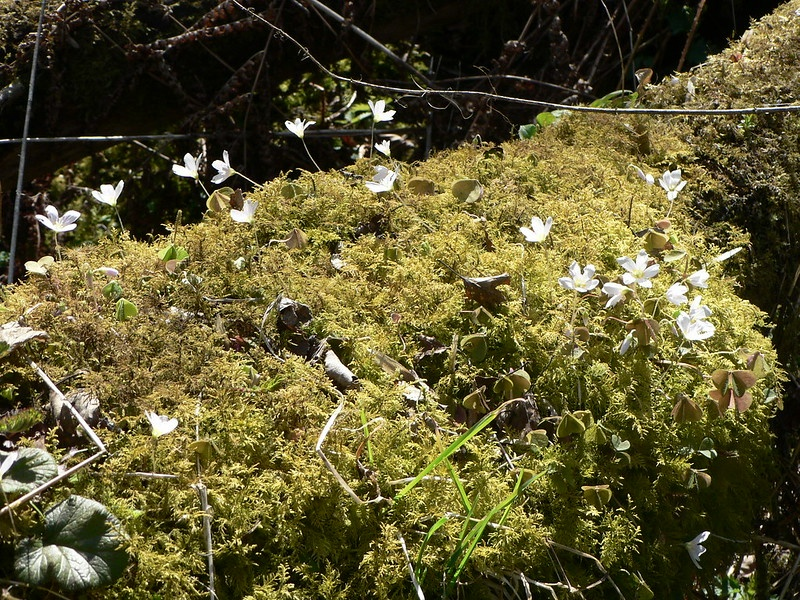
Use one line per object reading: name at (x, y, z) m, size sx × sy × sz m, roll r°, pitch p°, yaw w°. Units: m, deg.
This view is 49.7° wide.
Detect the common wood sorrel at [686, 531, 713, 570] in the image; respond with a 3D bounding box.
common wood sorrel at (0.795, 0.658, 2.314) m, size 0.044 × 0.100 × 0.104 m, roll 7°, pitch 95°, yaw -7°
